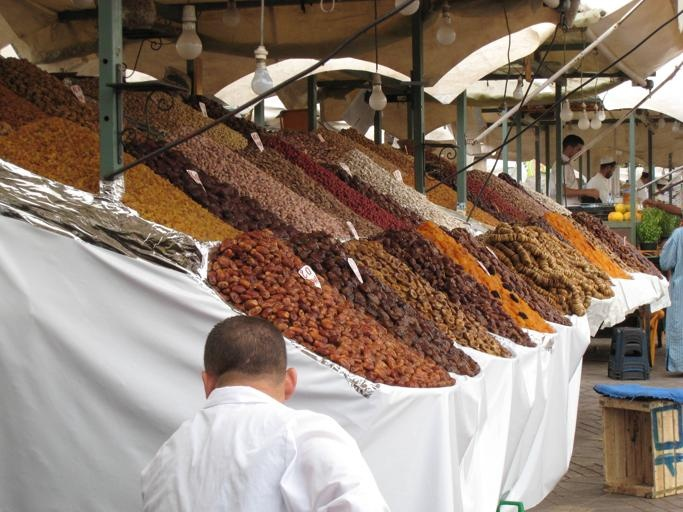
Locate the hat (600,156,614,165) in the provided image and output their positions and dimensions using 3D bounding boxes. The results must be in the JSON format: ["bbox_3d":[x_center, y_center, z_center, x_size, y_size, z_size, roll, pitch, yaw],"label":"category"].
[{"bbox_3d":[4.003,-1.436,14.504,0.273,0.074,0.289,-5,13,-4],"label":"hat"}]

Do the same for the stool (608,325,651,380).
[{"bbox_3d":[2.862,0.968,9.477,0.468,0.581,0.431,-2,0,0],"label":"stool"}]
